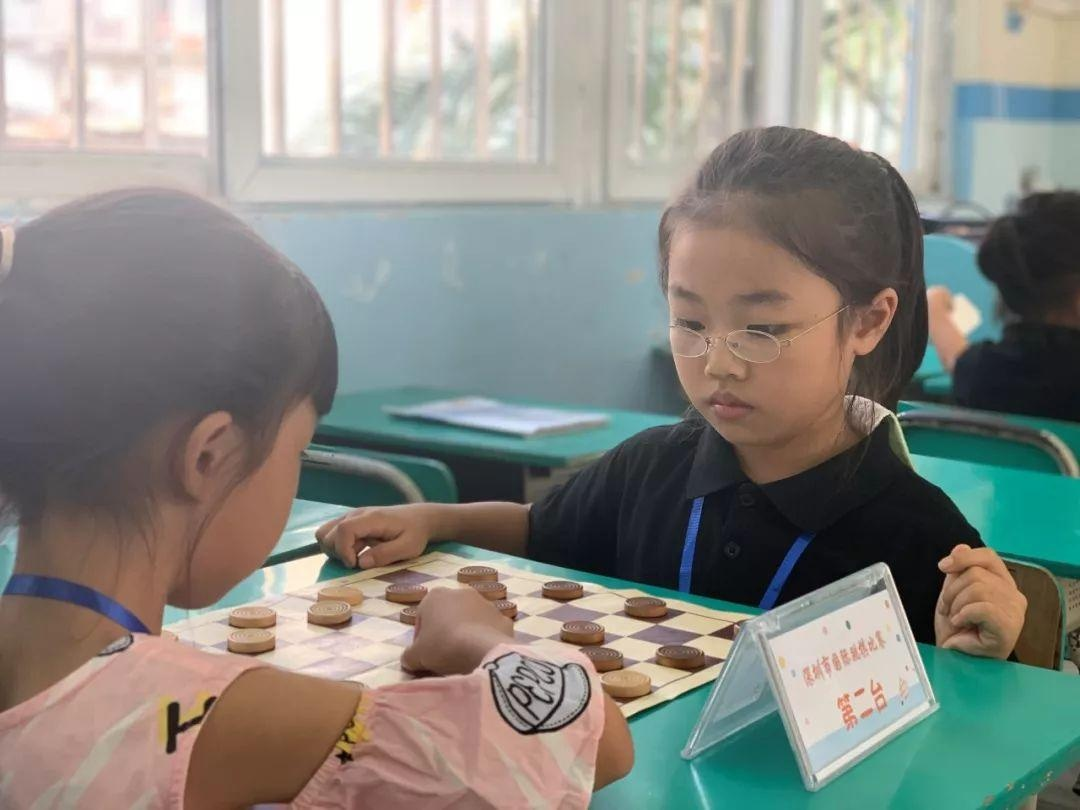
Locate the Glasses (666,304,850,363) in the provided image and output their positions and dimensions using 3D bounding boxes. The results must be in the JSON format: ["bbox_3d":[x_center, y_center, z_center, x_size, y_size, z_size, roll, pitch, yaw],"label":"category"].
[{"bbox_3d":[0.286,-0.090,1.176,0.211,0.075,0.071,3,7,19],"label":"Glasses"}]

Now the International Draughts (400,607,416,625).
[{"bbox_3d":[-0.144,0.229,0.988,0.017,0.004,0.017,11,16,40],"label":"International Draughts"}]

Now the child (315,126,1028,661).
[{"bbox_3d":[0.176,0.084,1.572,0.805,1.133,0.653,7,8,41],"label":"child"}]

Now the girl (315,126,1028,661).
[{"bbox_3d":[0.188,0.083,1.570,0.805,1.133,0.653,7,8,41],"label":"girl"}]

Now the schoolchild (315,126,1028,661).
[{"bbox_3d":[0.181,0.077,1.595,0.805,1.133,0.653,7,8,41],"label":"schoolchild"}]
